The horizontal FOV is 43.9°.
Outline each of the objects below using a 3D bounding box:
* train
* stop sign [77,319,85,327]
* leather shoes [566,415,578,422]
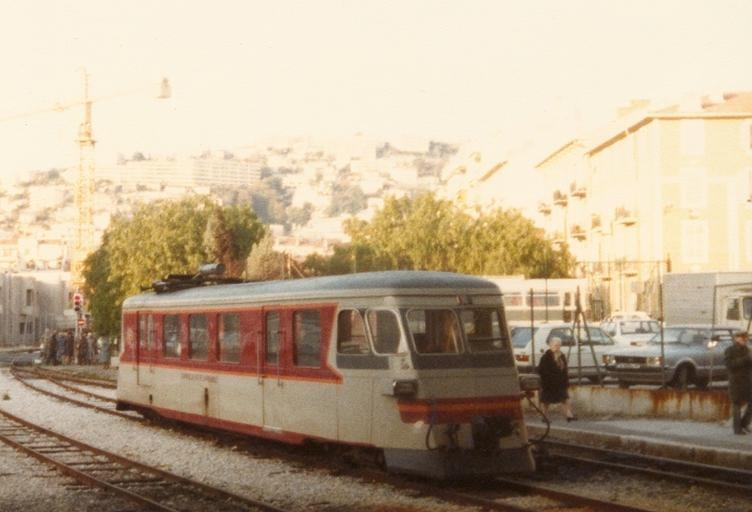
[{"bbox_3d":[-2.224,2.570,23.663,3.725,4.388,12.781,1,-3,-35],"label":"train"},{"bbox_3d":[-16.803,3.895,53.634,0.423,0.296,0.420,0,-6,-18],"label":"stop sign"},{"bbox_3d":[5.251,4.313,24.852,0.142,0.156,0.395,-6,6,37],"label":"leather shoes"}]
